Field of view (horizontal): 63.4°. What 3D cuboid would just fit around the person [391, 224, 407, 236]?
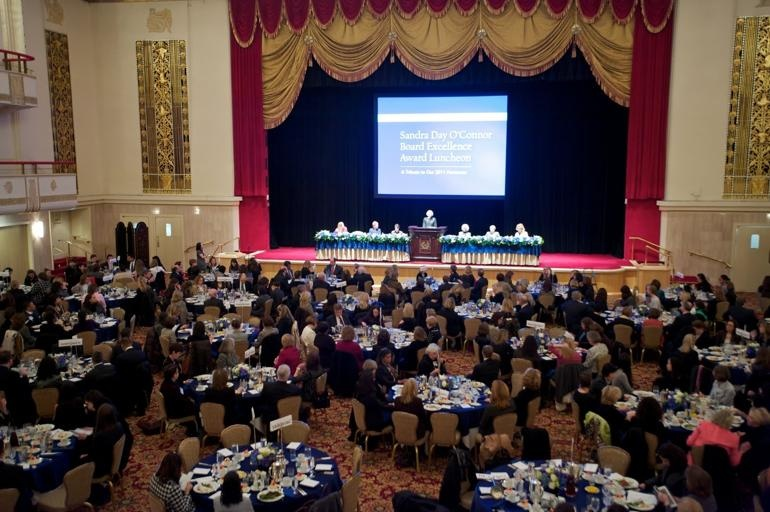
[{"bbox_3d":[0.486,-0.949,23.705,0.512,0.297,0.737,0,9,1],"label":"person"}]

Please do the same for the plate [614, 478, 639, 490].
[{"bbox_3d":[4.185,3.941,10.820,0.429,0.149,0.208,-3,5,-15],"label":"plate"}]

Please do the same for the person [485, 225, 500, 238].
[{"bbox_3d":[3.990,-0.879,23.096,0.570,0.338,0.902,0,2,7],"label":"person"}]
